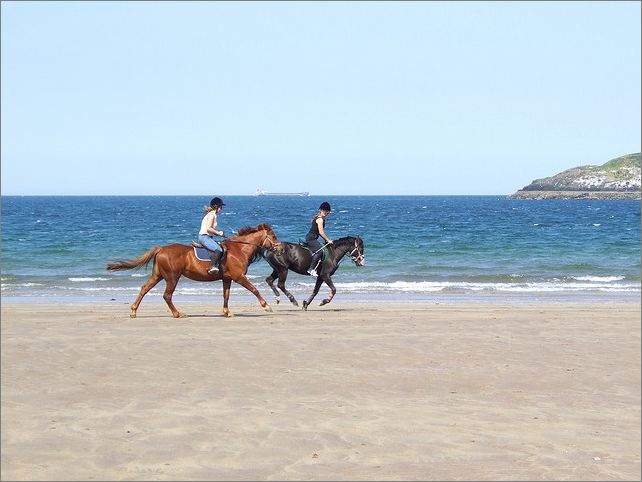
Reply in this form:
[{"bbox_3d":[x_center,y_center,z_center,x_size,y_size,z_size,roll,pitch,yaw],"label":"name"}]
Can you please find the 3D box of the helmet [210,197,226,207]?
[{"bbox_3d":[-2.384,-0.904,18.787,0.486,0.233,0.319,-3,17,-16],"label":"helmet"}]
